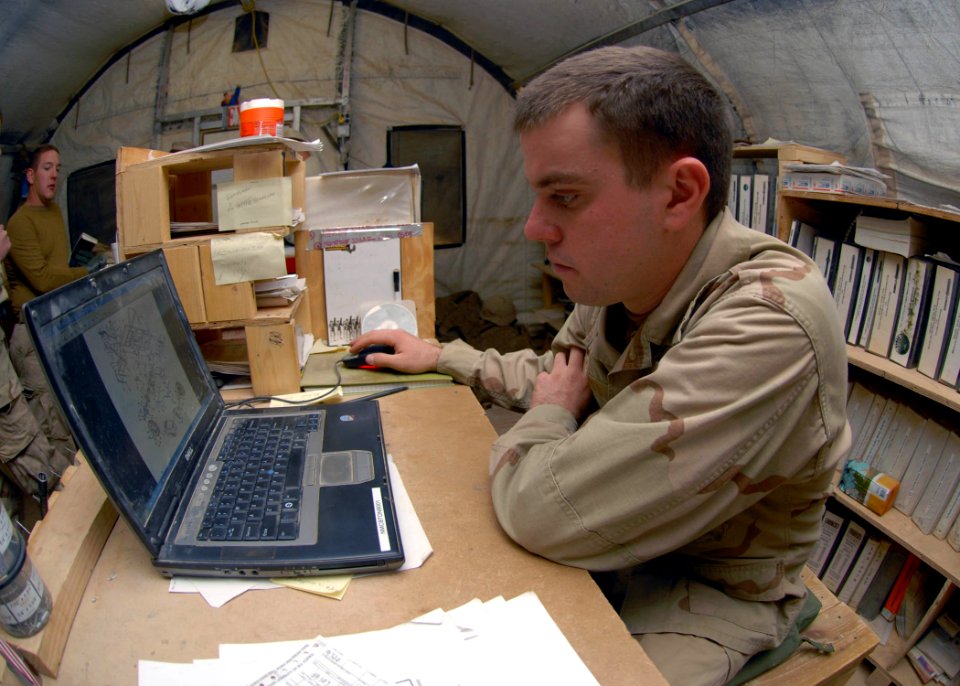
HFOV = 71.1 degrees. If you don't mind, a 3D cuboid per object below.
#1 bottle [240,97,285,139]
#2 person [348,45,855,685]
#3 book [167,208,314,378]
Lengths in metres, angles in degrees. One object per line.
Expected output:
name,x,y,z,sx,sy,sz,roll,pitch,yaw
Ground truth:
bottle,-0.548,-0.556,1.720,0.114,0.086,0.114,0,3,0
person,0.369,-0.084,2.042,1.139,1.896,0.853,0,11,0
book,-0.558,-0.130,1.797,0.324,0.411,0.443,-9,27,7
